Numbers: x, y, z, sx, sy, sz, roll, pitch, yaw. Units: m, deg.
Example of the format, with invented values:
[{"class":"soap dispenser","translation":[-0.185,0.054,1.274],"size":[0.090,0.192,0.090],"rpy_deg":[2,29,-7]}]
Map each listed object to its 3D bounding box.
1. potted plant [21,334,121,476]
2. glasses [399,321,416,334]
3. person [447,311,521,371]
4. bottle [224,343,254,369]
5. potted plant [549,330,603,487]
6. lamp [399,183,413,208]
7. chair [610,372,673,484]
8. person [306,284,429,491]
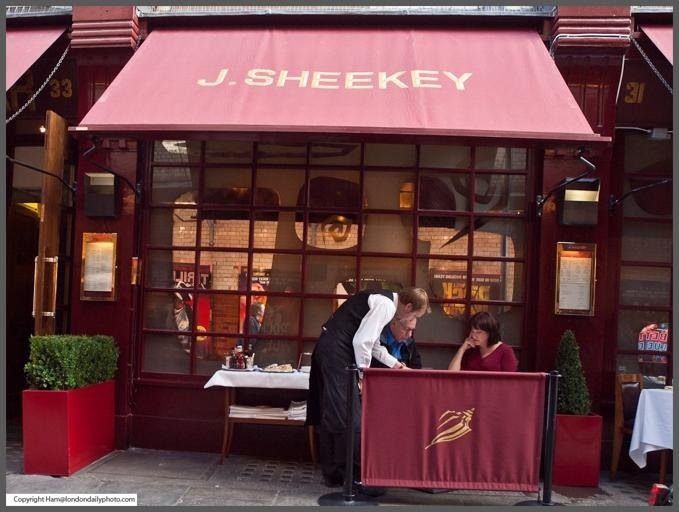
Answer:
[{"class":"potted plant","translation":[-3.398,1.906,12.137],"size":[0.642,1.679,1.616],"rpy_deg":[1,2,14]},{"class":"glasses","translation":[0.864,0.875,11.809],"size":[0.138,0.143,0.178],"rpy_deg":[3,-4,-6]},{"class":"person","translation":[1.888,1.239,12.441],"size":[0.811,1.093,0.533],"rpy_deg":[3,-4,26]},{"class":"bottle","translation":[-1.326,1.331,12.737],"size":[0.265,0.346,0.334],"rpy_deg":[2,-8,-1]},{"class":"potted plant","translation":[3.033,1.948,12.162],"size":[0.607,1.863,0.527],"rpy_deg":[3,10,14]},{"class":"lamp","translation":[0.915,-0.818,13.040],"size":[0.196,0.353,0.092],"rpy_deg":[1,10,-1]},{"class":"chair","translation":[4.068,2.238,12.653],"size":[0.928,1.386,0.993],"rpy_deg":[3,1,1]},{"class":"person","translation":[0.231,1.589,11.715],"size":[1.252,2.408,0.836],"rpy_deg":[0,10,-3]}]
